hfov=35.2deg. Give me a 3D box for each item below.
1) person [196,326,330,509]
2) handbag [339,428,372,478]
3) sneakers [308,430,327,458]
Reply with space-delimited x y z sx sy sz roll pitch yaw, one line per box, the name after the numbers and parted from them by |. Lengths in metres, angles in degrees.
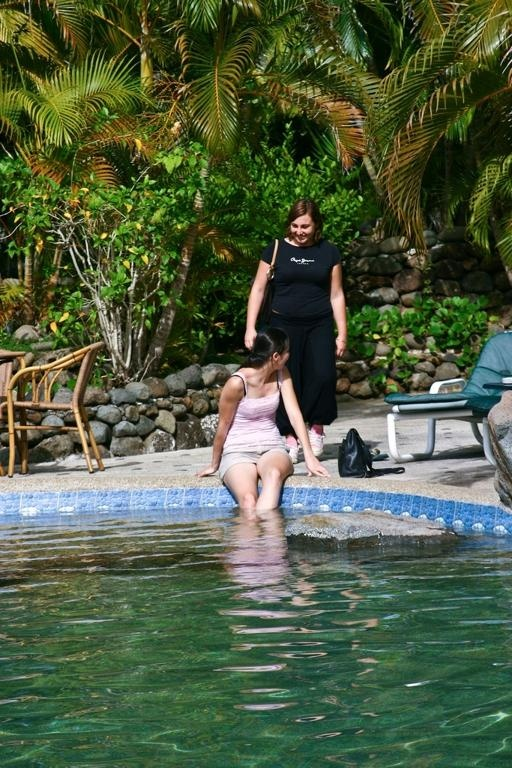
0.071 0.214 5.159 0.620 1.118 0.608 -4 3 -28 | person
0.700 0.533 5.653 0.286 0.415 0.435 0 -7 8 | handbag
0.468 0.443 6.262 0.101 0.112 0.286 18 16 -8 | sneakers
